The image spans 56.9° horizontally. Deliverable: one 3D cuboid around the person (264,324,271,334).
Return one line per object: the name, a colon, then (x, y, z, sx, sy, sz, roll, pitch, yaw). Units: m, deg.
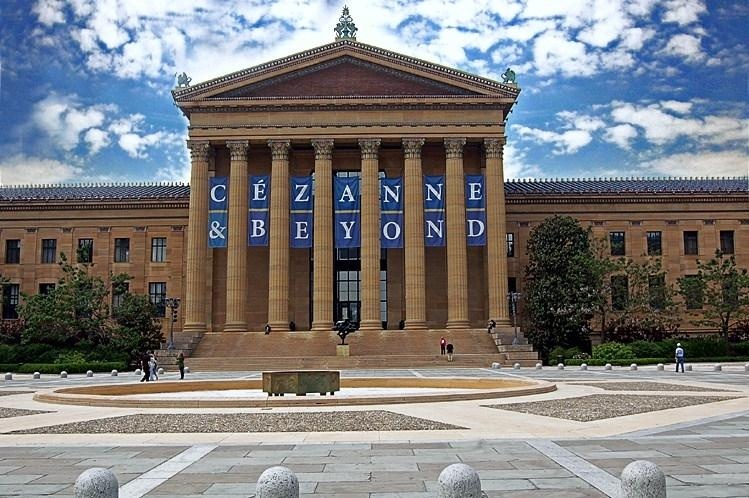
person: (-8.596, 6.424, 55.337, 0.454, 0.809, 1.595, 1, -7, -11)
